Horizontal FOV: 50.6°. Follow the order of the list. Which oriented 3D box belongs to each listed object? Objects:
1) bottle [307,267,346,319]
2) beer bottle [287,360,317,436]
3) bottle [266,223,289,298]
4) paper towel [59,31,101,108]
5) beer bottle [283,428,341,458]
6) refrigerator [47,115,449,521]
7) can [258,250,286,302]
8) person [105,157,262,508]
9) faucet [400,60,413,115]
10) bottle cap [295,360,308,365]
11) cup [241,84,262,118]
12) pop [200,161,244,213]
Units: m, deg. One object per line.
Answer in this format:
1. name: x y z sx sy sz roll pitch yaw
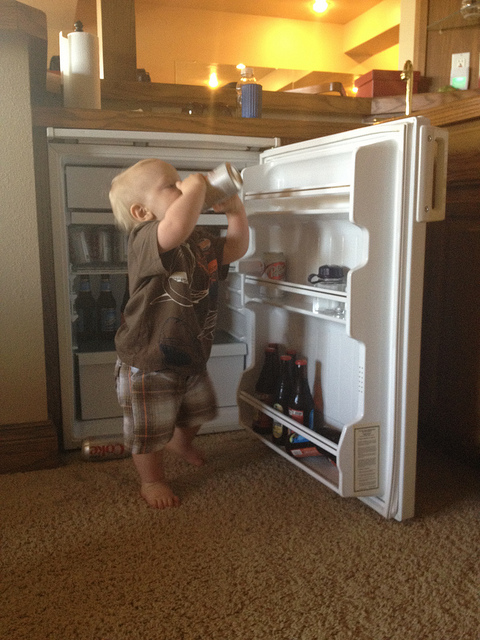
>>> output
1. bottle: 0.229 -0.066 1.275 0.125 0.137 0.081 11 11 38
2. beer bottle: 0.178 0.200 1.428 0.080 0.189 0.191 0 5 8
3. bottle: 0.107 -0.169 1.518 0.078 0.208 0.081 2 27 -1
4. paper towel: -0.479 -0.752 1.529 0.112 0.243 0.115 -2 5 -17
5. beer bottle: 0.191 0.315 1.295 0.046 0.070 0.175 21 -23 -30
6. refrigerator: 0.039 -0.038 1.480 1.077 0.927 0.697 5 10 27
7. can: 0.097 -0.141 1.517 0.081 0.143 0.077 -2 16 1
8. person: -0.139 0.025 1.342 0.360 0.835 0.426 -4 6 -40
9. faucet: 0.566 -0.788 1.723 0.032 0.172 0.050 -17 31 -12
10. bottle cap: 0.168 0.117 1.391 0.026 0.015 0.040 0 6 0
11. cup: 0.041 -0.723 1.669 0.061 0.103 0.041 -1 5 -12
12. pop: -0.065 -0.312 1.189 0.121 0.075 0.074 -30 13 10
